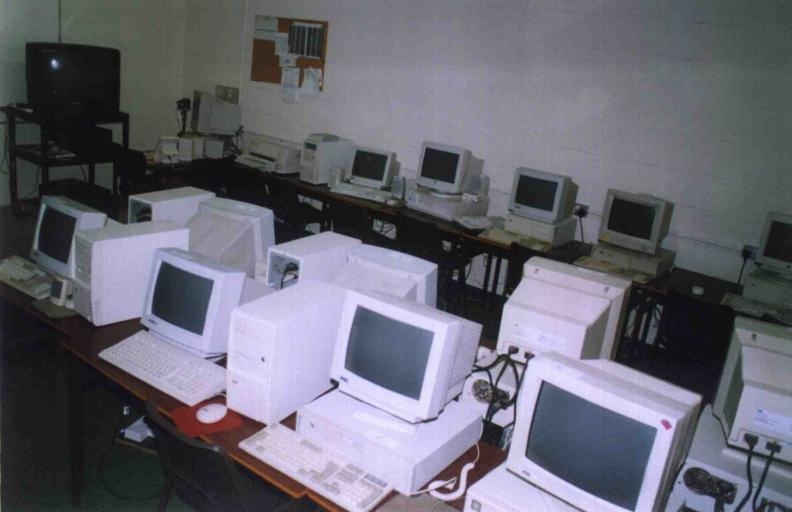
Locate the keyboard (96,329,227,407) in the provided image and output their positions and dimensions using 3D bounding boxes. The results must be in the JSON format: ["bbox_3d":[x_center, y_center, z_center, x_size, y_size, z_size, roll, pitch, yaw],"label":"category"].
[{"bbox_3d":[-1.216,0.586,3.137,0.698,0.176,0.242,14,19,24],"label":"keyboard"}]

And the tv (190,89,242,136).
[{"bbox_3d":[-2.018,-1.521,6.705,0.524,0.395,0.524,6,8,-30],"label":"tv"}]

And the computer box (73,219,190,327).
[{"bbox_3d":[-1.584,0.121,3.532,0.528,0.459,0.300,-1,10,-44],"label":"computer box"}]

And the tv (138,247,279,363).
[{"bbox_3d":[-1.023,0.159,3.367,0.574,0.437,0.602,24,23,16],"label":"tv"}]

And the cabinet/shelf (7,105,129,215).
[{"bbox_3d":[-2.973,-1.059,5.645,1.185,1.152,0.897,-8,29,-34],"label":"cabinet/shelf"}]

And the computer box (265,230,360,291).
[{"bbox_3d":[-0.479,0.015,3.374,0.521,0.346,0.281,-18,22,-37],"label":"computer box"}]

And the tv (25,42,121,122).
[{"bbox_3d":[-2.789,-1.471,5.065,0.321,0.605,0.803,15,19,27],"label":"tv"}]

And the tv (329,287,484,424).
[{"bbox_3d":[0.045,0.377,3.080,0.791,0.655,0.571,17,12,26],"label":"tv"}]

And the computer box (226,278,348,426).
[{"bbox_3d":[-0.520,0.500,2.909,0.284,0.473,0.552,23,31,35],"label":"computer box"}]
